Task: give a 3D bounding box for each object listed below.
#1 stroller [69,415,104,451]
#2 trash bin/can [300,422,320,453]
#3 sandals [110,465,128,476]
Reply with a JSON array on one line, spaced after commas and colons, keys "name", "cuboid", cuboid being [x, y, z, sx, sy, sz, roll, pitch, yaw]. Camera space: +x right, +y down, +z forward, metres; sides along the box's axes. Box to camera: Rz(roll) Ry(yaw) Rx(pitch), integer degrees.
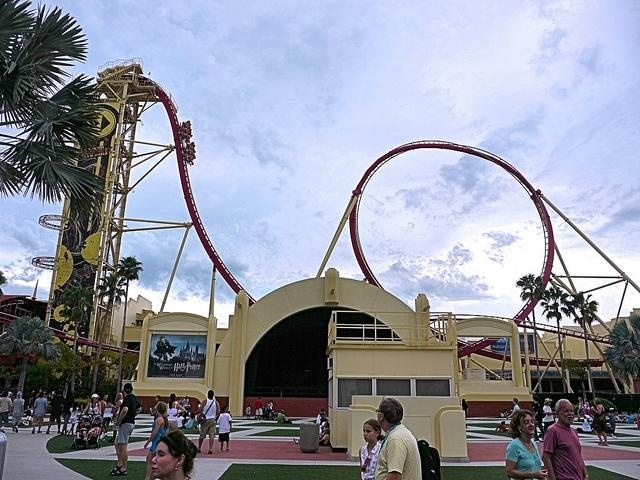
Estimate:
[{"name": "stroller", "cuboid": [-8.464, 7.008, 14.910, 0.858, 1.145, 1.330, 11, -42, -19]}, {"name": "trash bin/can", "cuboid": [-0.394, 7.034, 14.613, 0.668, 0.950, 0.719, 3, -23, -5]}, {"name": "sandals", "cuboid": [-4.980, 5.629, 10.073, 0.316, 0.100, 0.226, 14, -24, -16]}]
